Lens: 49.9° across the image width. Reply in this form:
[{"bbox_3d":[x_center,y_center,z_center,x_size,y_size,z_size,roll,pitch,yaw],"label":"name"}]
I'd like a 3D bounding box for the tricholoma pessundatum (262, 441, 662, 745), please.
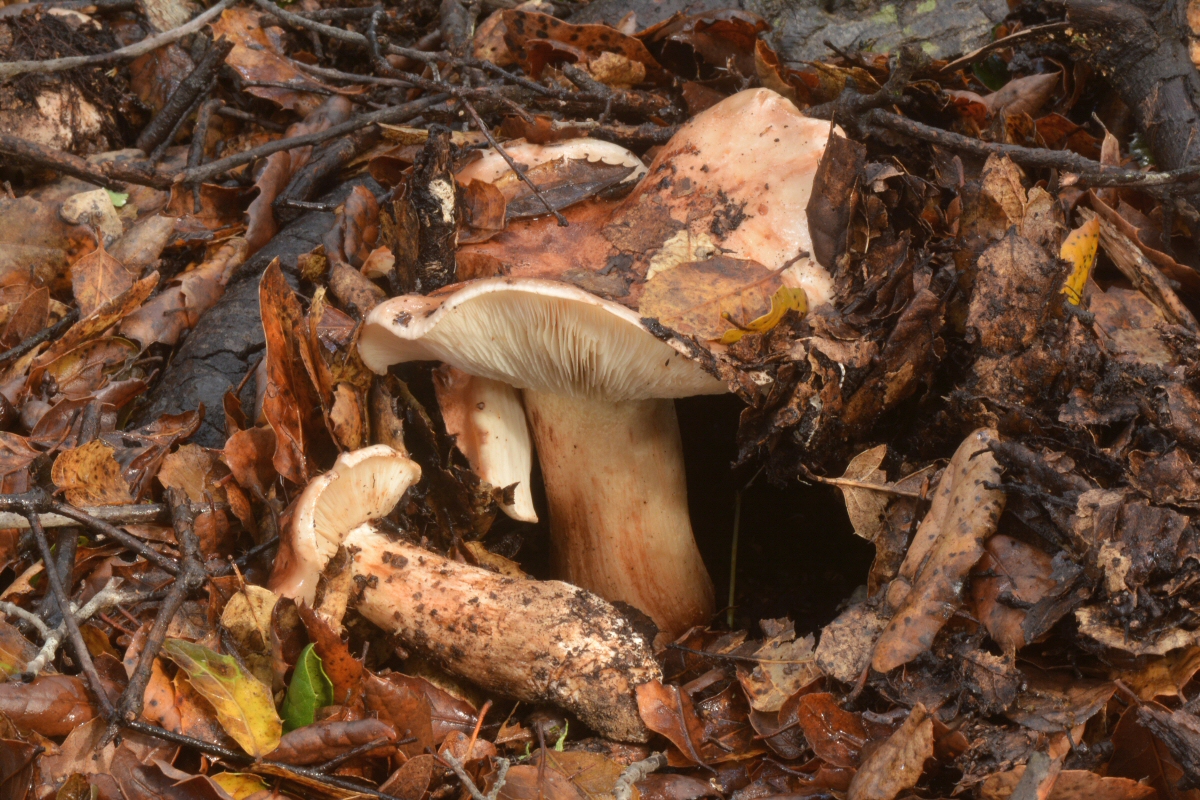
[{"bbox_3d":[-0.551,0.836,5.248,1.672,0.612,0.922,27,53,15],"label":"tricholoma pessundatum"}]

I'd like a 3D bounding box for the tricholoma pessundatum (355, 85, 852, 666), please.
[{"bbox_3d":[0.024,-0.086,6.154,2.167,2.299,2.320,-31,40,-32],"label":"tricholoma pessundatum"}]
